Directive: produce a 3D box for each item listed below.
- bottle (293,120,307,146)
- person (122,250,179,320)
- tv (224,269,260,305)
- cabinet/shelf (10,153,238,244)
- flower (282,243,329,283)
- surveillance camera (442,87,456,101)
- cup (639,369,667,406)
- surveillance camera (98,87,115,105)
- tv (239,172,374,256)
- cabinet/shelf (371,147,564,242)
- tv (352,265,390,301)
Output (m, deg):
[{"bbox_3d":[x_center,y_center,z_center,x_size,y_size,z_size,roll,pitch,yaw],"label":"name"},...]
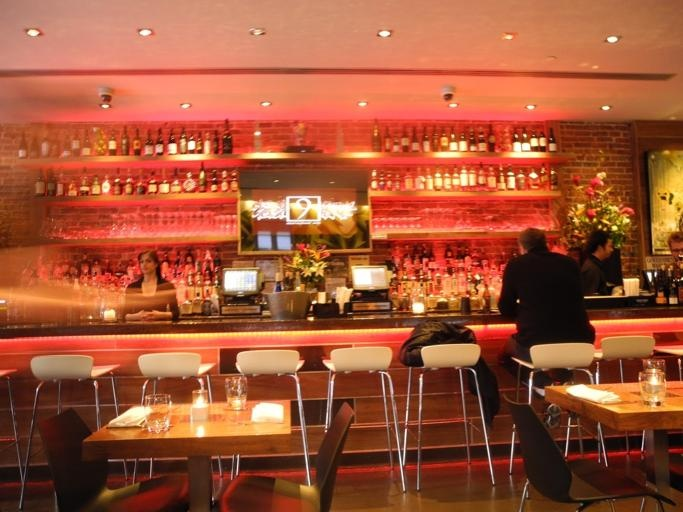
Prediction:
[{"bbox_3d":[-0.514,-1.518,7.664,0.159,0.282,0.238,-3,11,-3],"label":"bottle"},{"bbox_3d":[-2.033,0.308,6.451,0.548,0.686,0.898,-6,11,-18],"label":"person"},{"bbox_3d":[-1.089,0.344,6.772,0.500,0.312,0.219,0,-21,-2],"label":"tv"},{"bbox_3d":[-2.585,-0.719,7.648,2.606,1.006,0.768,-2,11,-3],"label":"cabinet/shelf"},{"bbox_3d":[-0.242,0.056,6.656,0.633,0.442,0.527,-3,5,-24],"label":"flower"},{"bbox_3d":[1.204,-1.827,6.926,0.137,0.085,0.140,0,-2,-43],"label":"surveillance camera"},{"bbox_3d":[2.026,0.831,3.999,0.161,0.206,0.312,3,11,27],"label":"cup"},{"bbox_3d":[-2.596,-1.757,6.720,0.189,0.123,0.155,1,3,-2],"label":"surveillance camera"},{"bbox_3d":[-0.478,-0.507,7.598,1.561,0.692,0.049,0,-4,-3],"label":"tv"},{"bbox_3d":[1.346,-0.799,8.062,2.957,0.904,0.538,5,-3,25],"label":"cabinet/shelf"},{"bbox_3d":[0.309,0.279,6.639,0.386,0.322,0.277,-3,11,-4],"label":"tv"}]
